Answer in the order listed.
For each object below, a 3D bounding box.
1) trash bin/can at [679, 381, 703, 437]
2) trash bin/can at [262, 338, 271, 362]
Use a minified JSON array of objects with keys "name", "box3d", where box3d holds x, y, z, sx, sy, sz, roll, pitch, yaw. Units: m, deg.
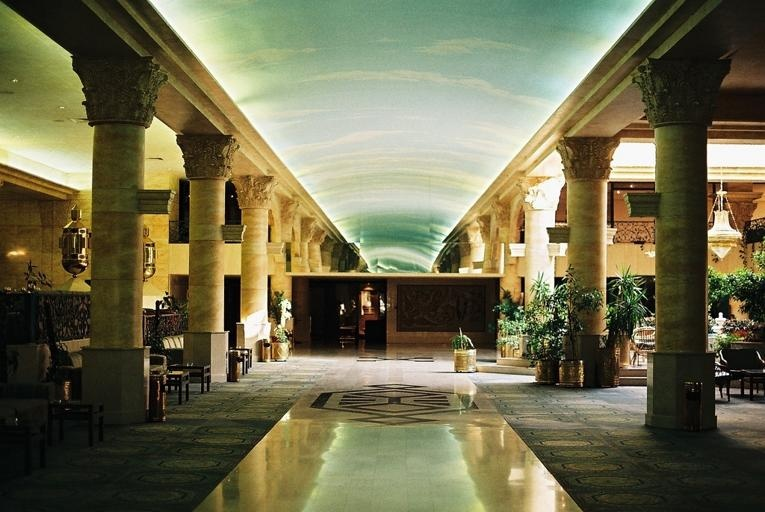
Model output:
[{"name":"trash bin/can","box3d":[5.708,2.769,10.908,0.308,0.878,0.396,-5,-8,22]},{"name":"trash bin/can","box3d":[-4.262,3.496,22.029,0.307,0.817,0.448,-9,-10,42]}]
